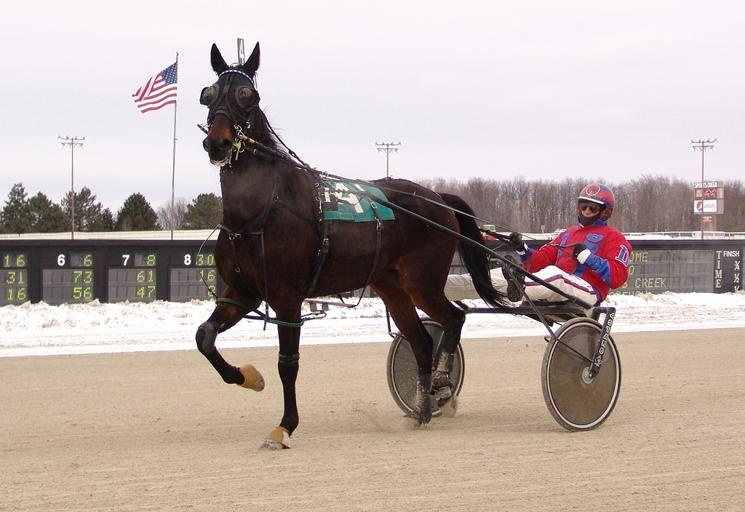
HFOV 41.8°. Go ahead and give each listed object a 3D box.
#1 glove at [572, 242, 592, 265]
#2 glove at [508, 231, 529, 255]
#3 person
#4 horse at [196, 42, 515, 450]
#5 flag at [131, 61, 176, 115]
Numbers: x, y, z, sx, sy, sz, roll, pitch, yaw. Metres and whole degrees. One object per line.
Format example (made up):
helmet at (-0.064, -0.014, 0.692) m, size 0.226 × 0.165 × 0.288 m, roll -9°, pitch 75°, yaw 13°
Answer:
glove at (2.054, -0.024, 9.579) m, size 0.142 × 0.163 × 0.185 m, roll 27°, pitch 6°, yaw 28°
glove at (1.481, -0.129, 9.707) m, size 0.081 × 0.230 × 0.168 m, roll -42°, pitch 4°, yaw -21°
person at (1.643, -0.075, 9.995) m, size 1.997 × 1.354 × 1.100 m, roll 6°, pitch -3°, yaw -23°
horse at (-0.177, 0.065, 9.721) m, size 1.129 × 3.554 × 4.552 m, roll 1°, pitch -1°, yaw 43°
flag at (-5.544, -4.298, 25.043) m, size 1.201 × 1.176 × 0.077 m, roll -18°, pitch 37°, yaw -36°
